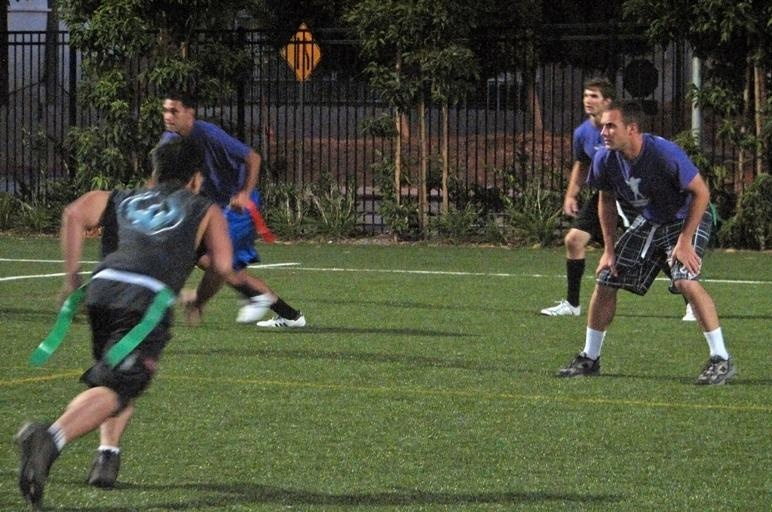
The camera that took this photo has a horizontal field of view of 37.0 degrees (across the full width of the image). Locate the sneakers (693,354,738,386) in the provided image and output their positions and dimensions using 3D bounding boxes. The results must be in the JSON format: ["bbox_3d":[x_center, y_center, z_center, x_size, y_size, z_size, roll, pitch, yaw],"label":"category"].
[{"bbox_3d":[2.833,0.947,9.786,0.431,0.222,0.155,-5,11,-28],"label":"sneakers"}]

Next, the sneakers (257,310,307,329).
[{"bbox_3d":[-1.066,0.648,11.930,0.552,0.191,0.190,0,-4,4],"label":"sneakers"}]

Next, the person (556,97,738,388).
[{"bbox_3d":[2.257,-0.153,9.926,1.308,2.328,0.680,2,9,9],"label":"person"}]

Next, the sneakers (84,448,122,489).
[{"bbox_3d":[-1.927,1.445,7.879,0.167,0.240,0.143,29,-32,-35],"label":"sneakers"}]

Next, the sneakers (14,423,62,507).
[{"bbox_3d":[-2.220,1.301,7.389,0.191,0.617,0.267,-3,-13,-9],"label":"sneakers"}]

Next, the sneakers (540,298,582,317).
[{"bbox_3d":[1.924,0.566,12.709,0.485,0.196,0.171,1,-2,-9],"label":"sneakers"}]
